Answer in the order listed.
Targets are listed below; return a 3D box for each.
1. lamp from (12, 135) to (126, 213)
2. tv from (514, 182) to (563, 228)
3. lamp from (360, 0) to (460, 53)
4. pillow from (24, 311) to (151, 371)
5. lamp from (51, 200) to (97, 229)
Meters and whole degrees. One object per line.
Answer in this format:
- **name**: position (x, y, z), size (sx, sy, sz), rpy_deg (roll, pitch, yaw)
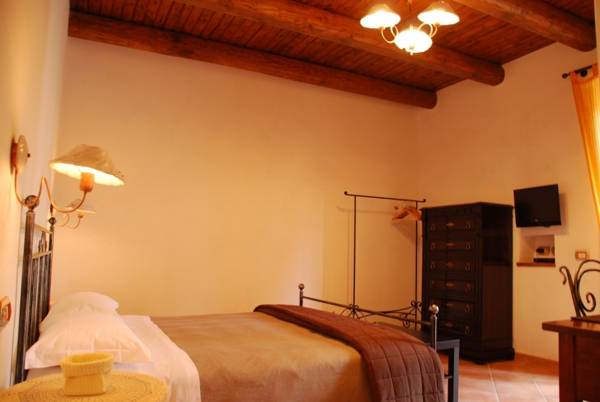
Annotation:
- **lamp**: position (-1.385, -0.164, 2.799), size (0.570, 0.352, 0.350), rpy_deg (6, -13, -25)
- **tv**: position (2.908, 0.057, 5.641), size (0.052, 0.473, 0.469), rpy_deg (15, 4, -35)
- **lamp**: position (1.077, -1.800, 4.726), size (0.825, 0.781, 0.334), rpy_deg (4, -25, 4)
- **pillow**: position (-1.325, 0.985, 3.118), size (0.510, 0.145, 0.492), rpy_deg (-15, -42, 33)
- **lamp**: position (-2.345, 0.141, 4.802), size (0.387, 0.258, 0.289), rpy_deg (-5, -7, 26)
